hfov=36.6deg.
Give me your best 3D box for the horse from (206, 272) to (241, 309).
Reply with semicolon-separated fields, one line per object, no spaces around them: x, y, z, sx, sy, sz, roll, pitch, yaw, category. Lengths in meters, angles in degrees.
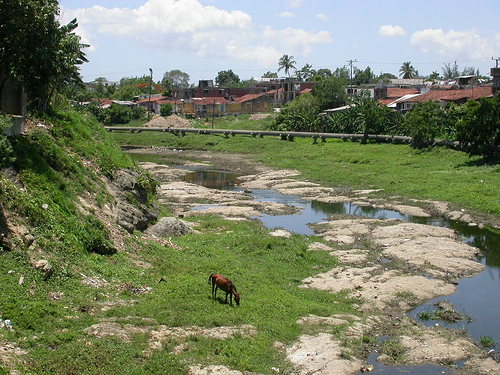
-1.227;4.689;34.823;1.762;1.359;1.454;1;9;11;horse
